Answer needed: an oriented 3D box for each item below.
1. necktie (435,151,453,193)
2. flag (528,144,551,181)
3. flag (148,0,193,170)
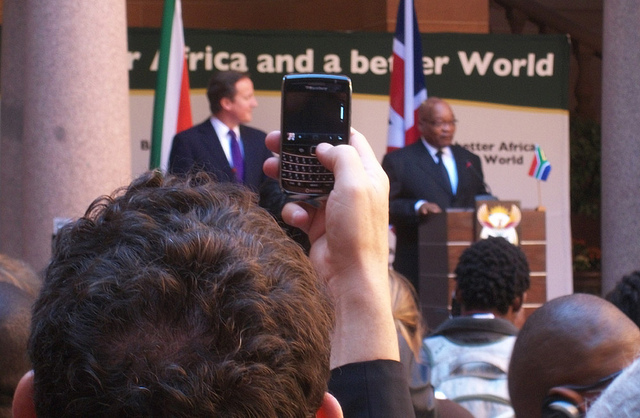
[{"bbox_3d":[1.234,-0.370,8.075,0.118,0.415,0.026,-6,-16,-21],"label":"necktie"},{"bbox_3d":[2.313,-0.487,8.452,0.207,0.032,0.404,15,-44,15],"label":"flag"},{"bbox_3d":[-1.323,-1.101,7.165,0.331,1.504,0.587,2,0,-9],"label":"flag"}]
